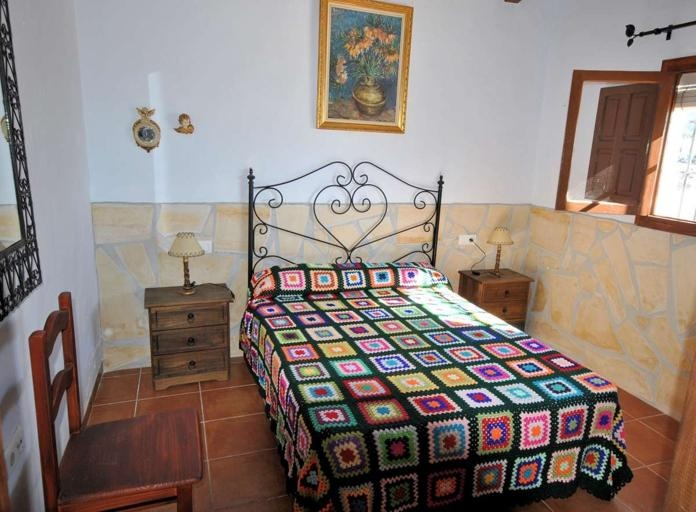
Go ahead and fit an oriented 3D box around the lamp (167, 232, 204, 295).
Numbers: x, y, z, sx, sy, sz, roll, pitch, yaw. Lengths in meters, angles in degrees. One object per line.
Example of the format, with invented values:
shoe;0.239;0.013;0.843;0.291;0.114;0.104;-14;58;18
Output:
lamp;-1.202;0.038;3.679;0.244;0.453;0.357;-4;13;-16
